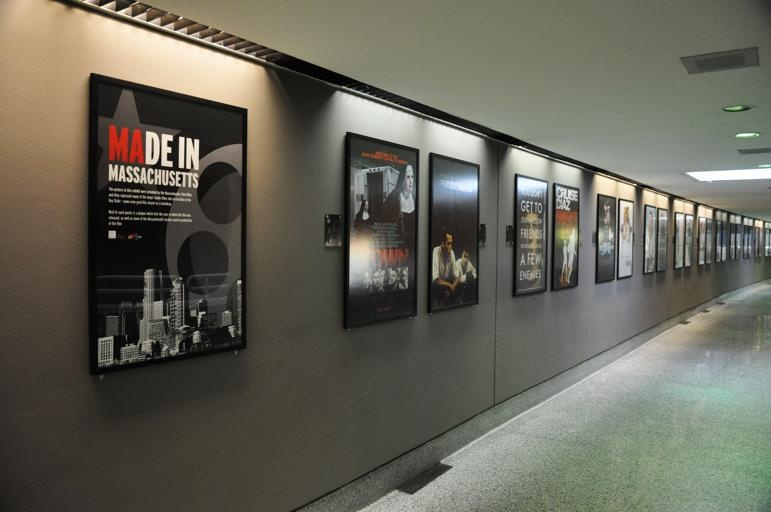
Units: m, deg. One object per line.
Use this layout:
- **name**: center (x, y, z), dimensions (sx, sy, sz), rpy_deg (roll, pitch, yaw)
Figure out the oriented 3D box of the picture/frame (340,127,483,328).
- **picture/frame**: center (-0.031, -0.223, 4.448), dimensions (0.898, 1.618, 0.050), rpy_deg (-3, 4, -44)
